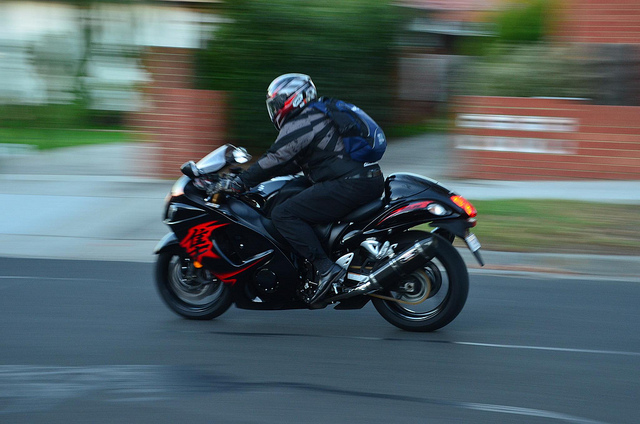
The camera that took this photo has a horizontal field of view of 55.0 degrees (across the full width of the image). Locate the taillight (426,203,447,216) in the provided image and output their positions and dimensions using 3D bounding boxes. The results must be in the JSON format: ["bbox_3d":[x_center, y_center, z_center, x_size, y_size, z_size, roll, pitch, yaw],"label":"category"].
[{"bbox_3d":[1.271,-0.037,6.544,0.211,0.113,0.080,2,25,3],"label":"taillight"}]

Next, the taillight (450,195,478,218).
[{"bbox_3d":[1.519,-0.051,6.643,0.358,0.090,0.196,32,40,2],"label":"taillight"}]
